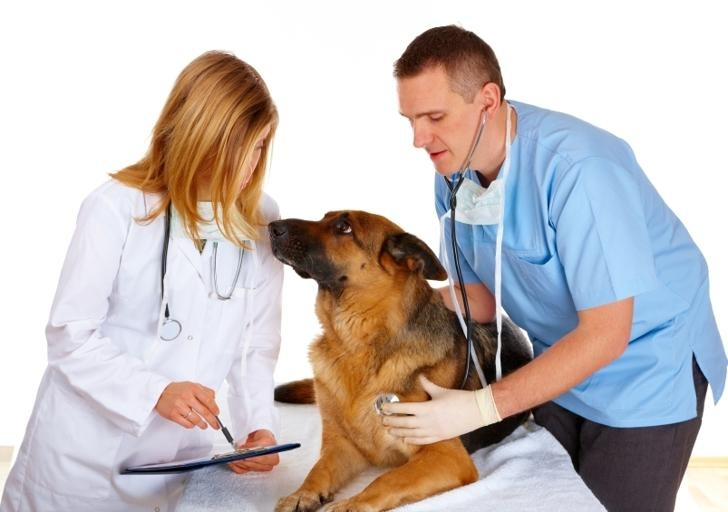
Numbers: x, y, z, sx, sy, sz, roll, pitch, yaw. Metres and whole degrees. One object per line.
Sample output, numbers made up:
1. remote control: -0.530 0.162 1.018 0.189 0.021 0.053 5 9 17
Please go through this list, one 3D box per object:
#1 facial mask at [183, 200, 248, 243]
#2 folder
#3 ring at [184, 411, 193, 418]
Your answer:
1. facial mask: -0.863 -0.191 4.072 0.462 0.282 0.626 1 -3 -10
2. folder: -0.794 1.039 3.551 0.935 0.096 0.431 -6 -9 -6
3. ring: -0.884 0.795 3.543 0.024 0.036 0.010 2 0 2
